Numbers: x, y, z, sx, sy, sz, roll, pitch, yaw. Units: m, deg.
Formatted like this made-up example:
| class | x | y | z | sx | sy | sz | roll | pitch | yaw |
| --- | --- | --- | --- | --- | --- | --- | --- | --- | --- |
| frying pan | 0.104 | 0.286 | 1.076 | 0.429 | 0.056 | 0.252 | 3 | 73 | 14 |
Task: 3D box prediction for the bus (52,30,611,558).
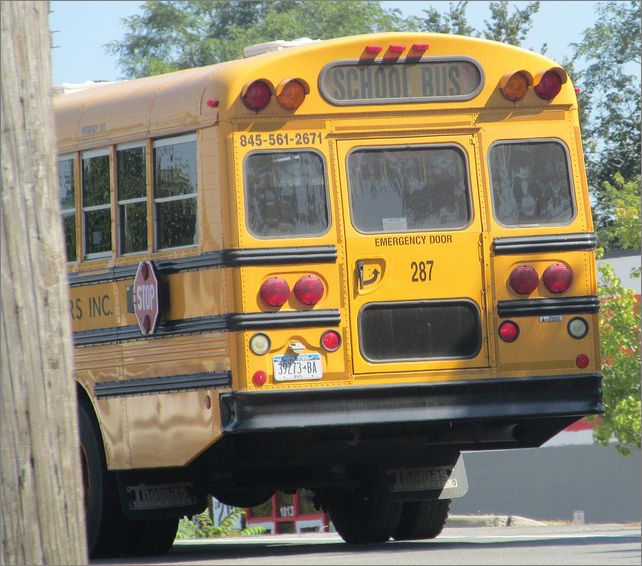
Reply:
| class | x | y | z | sx | sy | sz | roll | pitch | yaw |
| --- | --- | --- | --- | --- | --- | --- | --- | --- | --- |
| bus | -0.618 | -0.015 | 11.618 | 2.449 | 2.816 | 5.058 | -1 | -4 | -32 |
